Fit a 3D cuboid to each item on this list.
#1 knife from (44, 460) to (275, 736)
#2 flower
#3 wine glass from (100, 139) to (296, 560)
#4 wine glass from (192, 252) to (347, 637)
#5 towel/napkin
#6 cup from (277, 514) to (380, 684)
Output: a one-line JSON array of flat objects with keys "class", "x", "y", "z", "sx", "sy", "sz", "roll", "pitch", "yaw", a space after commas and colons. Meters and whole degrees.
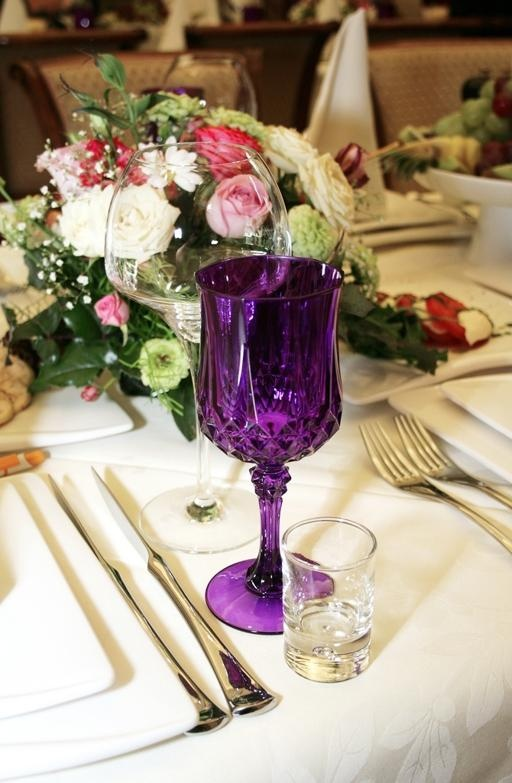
[{"class": "knife", "x": -0.060, "y": 0.095, "z": 0.402, "sx": 0.054, "sy": 0.019, "sz": 0.223, "roll": -20, "pitch": 46, "yaw": -25}, {"class": "flower", "x": -0.062, "y": -0.114, "z": 0.676, "sx": 0.426, "sy": 0.154, "sz": 0.396, "roll": 7, "pitch": 56, "yaw": -1}, {"class": "wine glass", "x": -0.040, "y": -0.027, "z": 0.474, "sx": 0.124, "sy": 0.259, "sz": 0.118, "roll": -4, "pitch": 18, "yaw": -11}, {"class": "wine glass", "x": 0.008, "y": 0.033, "z": 0.407, "sx": 0.093, "sy": 0.198, "sz": 0.086, "roll": -8, "pitch": 15, "yaw": -30}, {"class": "towel/napkin", "x": 0.129, "y": -0.416, "z": 0.941, "sx": 0.114, "sy": 0.190, "sz": 0.086, "roll": 1, "pitch": 6, "yaw": -27}, {"class": "cup", "x": 0.034, "y": 0.108, "z": 0.348, "sx": 0.053, "sy": 0.074, "sz": 0.049, "roll": 2, "pitch": -11, "yaw": 0}]
